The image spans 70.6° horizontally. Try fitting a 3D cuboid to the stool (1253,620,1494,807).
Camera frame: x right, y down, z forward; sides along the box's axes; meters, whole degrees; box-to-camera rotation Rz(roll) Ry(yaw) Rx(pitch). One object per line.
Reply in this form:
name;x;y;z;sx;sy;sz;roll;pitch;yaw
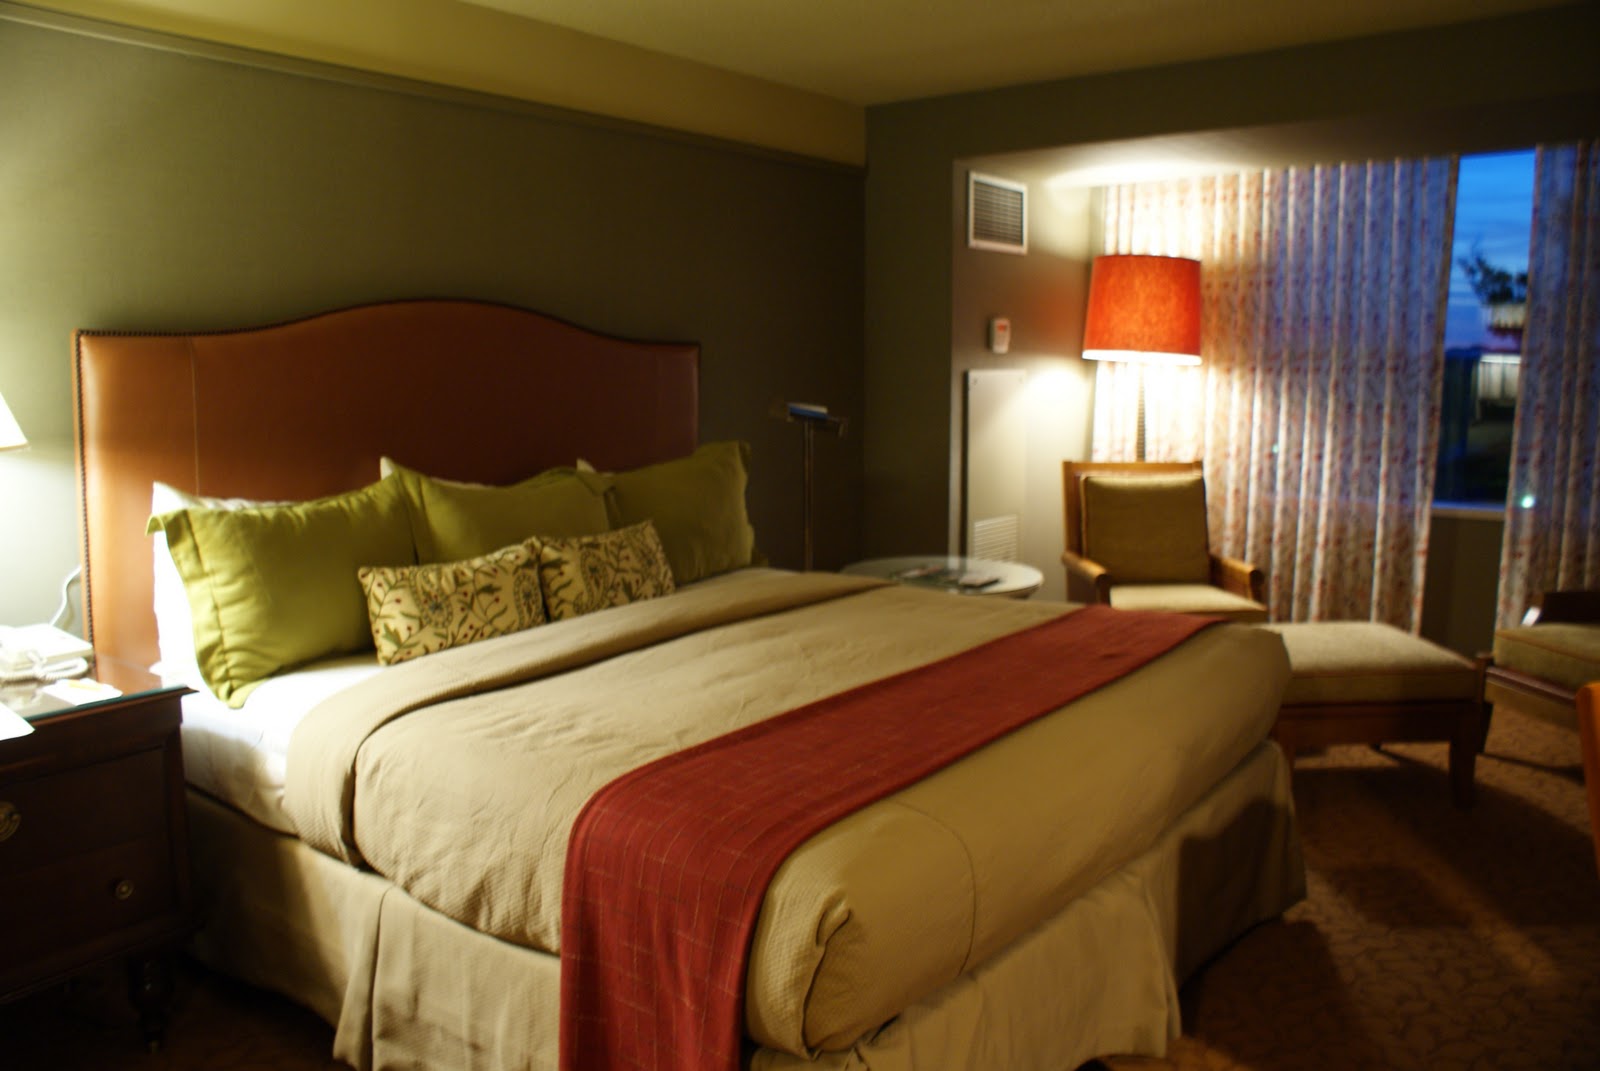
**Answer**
stool;2.226;0.602;4.451;0.630;0.515;0.950;-1;5;-3
